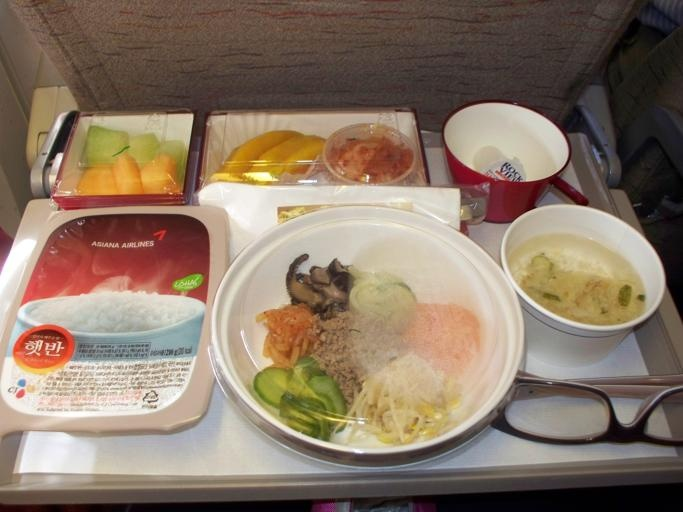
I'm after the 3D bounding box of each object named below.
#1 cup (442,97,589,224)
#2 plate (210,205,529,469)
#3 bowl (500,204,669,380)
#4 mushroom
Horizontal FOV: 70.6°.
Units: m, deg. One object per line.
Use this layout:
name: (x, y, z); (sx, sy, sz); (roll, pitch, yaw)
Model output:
cup: (0.262, -0.170, 0.906); (0.281, 0.228, 0.220); (-2, 64, -6)
plate: (0.034, 0.098, 0.762); (0.462, 0.312, 0.333); (0, 34, 0)
bowl: (0.336, 0.059, 0.677); (0.205, 0.119, 0.282); (-3, 65, -4)
mushroom: (-0.009, 0.049, 0.714); (0.121, 0.067, 0.079); (27, 37, 35)
